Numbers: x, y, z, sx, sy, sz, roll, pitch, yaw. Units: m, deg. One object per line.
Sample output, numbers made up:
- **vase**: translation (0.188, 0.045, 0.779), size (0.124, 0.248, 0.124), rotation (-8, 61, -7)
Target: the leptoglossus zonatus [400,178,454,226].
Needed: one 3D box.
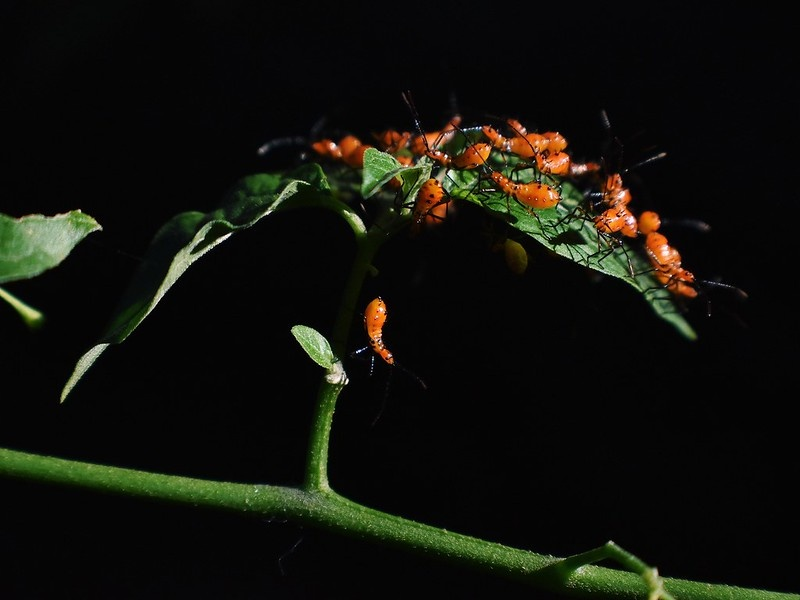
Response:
- **leptoglossus zonatus**: translation (0.057, -0.189, 1.423), size (0.055, 0.095, 0.023), rotation (19, 22, -25)

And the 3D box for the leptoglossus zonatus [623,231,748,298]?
- **leptoglossus zonatus**: translation (0.583, -0.063, 1.550), size (0.162, 0.087, 0.142), rotation (47, 4, -12)

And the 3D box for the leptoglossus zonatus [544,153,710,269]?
- **leptoglossus zonatus**: translation (0.451, -0.165, 1.476), size (0.251, 0.189, 0.089), rotation (34, -15, -27)

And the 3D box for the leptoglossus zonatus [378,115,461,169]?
- **leptoglossus zonatus**: translation (0.038, -0.323, 1.538), size (0.144, 0.080, 0.142), rotation (-16, 16, -37)

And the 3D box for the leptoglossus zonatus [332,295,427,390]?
- **leptoglossus zonatus**: translation (-0.032, 0.087, 1.532), size (0.039, 0.155, 0.108), rotation (17, 36, 42)

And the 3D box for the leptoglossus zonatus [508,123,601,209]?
- **leptoglossus zonatus**: translation (0.282, -0.281, 1.449), size (0.233, 0.078, 0.165), rotation (13, -11, 15)

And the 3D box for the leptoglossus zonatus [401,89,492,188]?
- **leptoglossus zonatus**: translation (0.073, -0.314, 1.487), size (0.184, 0.135, 0.150), rotation (17, 27, 10)
